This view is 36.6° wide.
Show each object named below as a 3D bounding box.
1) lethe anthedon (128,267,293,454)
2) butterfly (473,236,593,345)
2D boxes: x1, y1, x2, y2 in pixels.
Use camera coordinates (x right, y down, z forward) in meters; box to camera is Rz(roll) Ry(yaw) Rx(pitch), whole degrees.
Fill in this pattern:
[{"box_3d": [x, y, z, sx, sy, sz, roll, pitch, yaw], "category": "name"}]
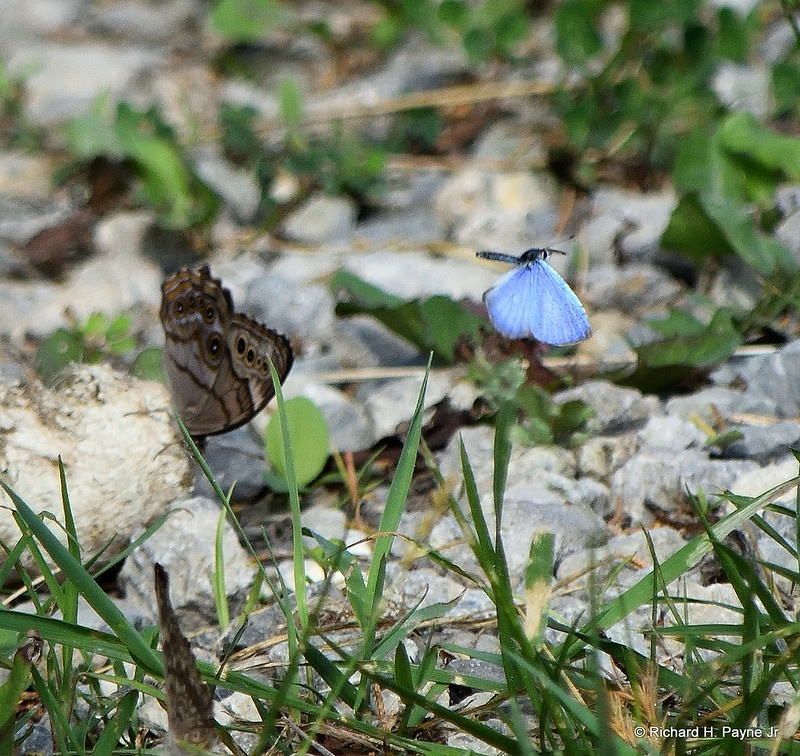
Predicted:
[{"box_3d": [-0.337, -0.034, 2.140, 0.284, 0.138, 0.318, 16, 47, -37], "category": "lethe anthedon"}, {"box_3d": [0.238, -0.206, 2.220, 0.236, 0.119, 0.247, 17, 36, 8], "category": "butterfly"}]
